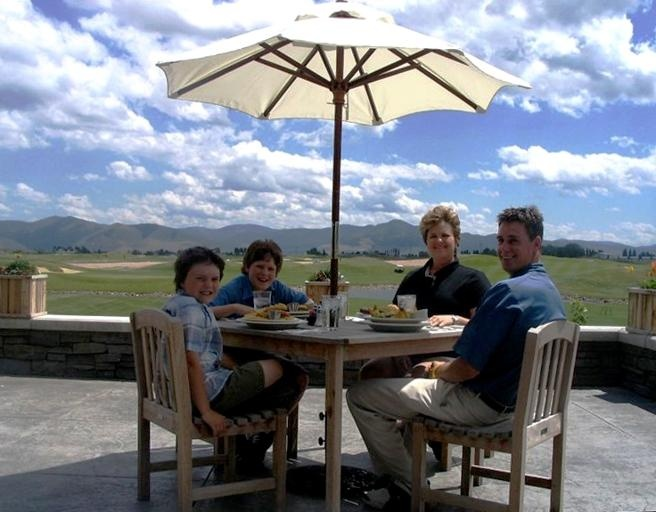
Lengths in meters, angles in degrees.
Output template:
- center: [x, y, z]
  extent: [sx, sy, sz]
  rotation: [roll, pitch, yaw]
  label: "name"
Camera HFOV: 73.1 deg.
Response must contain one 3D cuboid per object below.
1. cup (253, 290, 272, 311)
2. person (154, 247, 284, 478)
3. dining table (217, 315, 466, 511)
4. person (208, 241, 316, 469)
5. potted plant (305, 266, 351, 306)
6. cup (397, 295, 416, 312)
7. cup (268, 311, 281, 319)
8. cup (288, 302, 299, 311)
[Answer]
- center: [-0.430, 0.311, 2.977]
  extent: [0.121, 0.128, 0.119]
  rotation: [0, -6, 0]
  label: "cup"
- center: [-0.641, 0.642, 2.693]
  extent: [0.782, 1.288, 0.593]
  rotation: [1, 0, -34]
  label: "person"
- center: [0.041, 0.699, 2.952]
  extent: [1.235, 1.114, 1.220]
  rotation: [1, -2, -39]
  label: "dining table"
- center: [-0.502, 0.686, 3.420]
  extent: [0.847, 1.523, 0.836]
  rotation: [-3, -6, 9]
  label: "person"
- center: [-0.032, 0.483, 7.012]
  extent: [0.582, 0.428, 0.585]
  rotation: [1, 2, 14]
  label: "potted plant"
- center: [0.513, 0.326, 2.926]
  extent: [0.105, 0.113, 0.102]
  rotation: [0, -4, 0]
  label: "cup"
- center: [-0.327, 0.369, 2.717]
  extent: [0.057, 0.035, 0.056]
  rotation: [-1, -1, 0]
  label: "cup"
- center: [-0.247, 0.375, 3.219]
  extent: [0.060, 0.042, 0.057]
  rotation: [-1, -2, 0]
  label: "cup"
